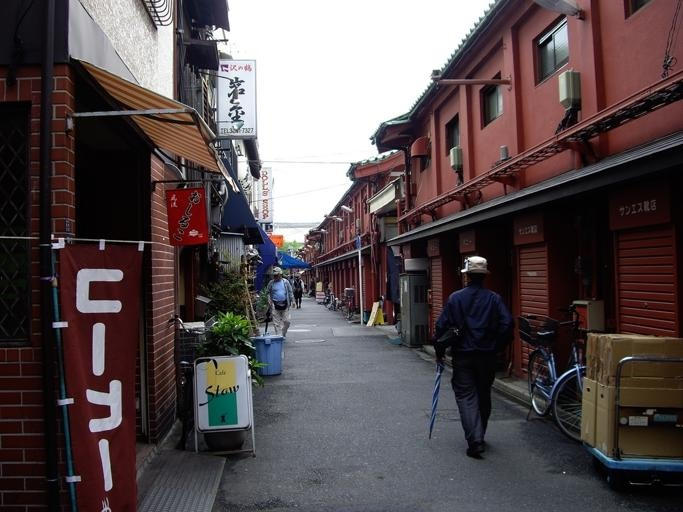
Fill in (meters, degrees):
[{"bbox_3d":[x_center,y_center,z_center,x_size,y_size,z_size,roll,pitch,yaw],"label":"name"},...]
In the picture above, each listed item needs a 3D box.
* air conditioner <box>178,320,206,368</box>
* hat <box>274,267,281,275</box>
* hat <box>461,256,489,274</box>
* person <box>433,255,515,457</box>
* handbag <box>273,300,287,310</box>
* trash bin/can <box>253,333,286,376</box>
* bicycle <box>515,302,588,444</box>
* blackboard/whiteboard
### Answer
[{"bbox_3d":[-2.185,1.426,9.156,0.421,0.675,0.429,10,-16,-35],"label":"air conditioner"},{"bbox_3d":[-1.717,0.408,16.409,0.194,0.116,0.302,-1,-2,-2],"label":"hat"},{"bbox_3d":[1.740,0.126,8.035,0.237,0.189,0.334,0,-8,10],"label":"hat"},{"bbox_3d":[1.640,1.225,7.682,0.964,2.444,0.450,-2,-5,10],"label":"person"},{"bbox_3d":[-1.636,1.319,16.458,0.360,0.263,0.235,0,-5,-9],"label":"handbag"},{"bbox_3d":[-1.573,2.045,12.828,0.695,0.848,0.822,0,-6,-11],"label":"trash bin/can"},{"bbox_3d":[2.886,1.575,8.586,0.859,1.497,2.192,10,-1,-2],"label":"bicycle"},{"bbox_3d":[-1.495,1.733,7.615,0.778,1.096,0.105,-1,-13,-4],"label":"blackboard/whiteboard"}]
